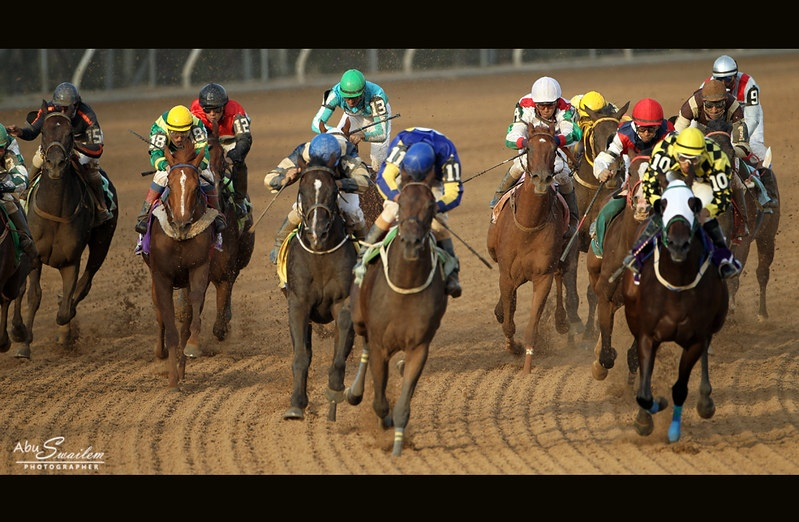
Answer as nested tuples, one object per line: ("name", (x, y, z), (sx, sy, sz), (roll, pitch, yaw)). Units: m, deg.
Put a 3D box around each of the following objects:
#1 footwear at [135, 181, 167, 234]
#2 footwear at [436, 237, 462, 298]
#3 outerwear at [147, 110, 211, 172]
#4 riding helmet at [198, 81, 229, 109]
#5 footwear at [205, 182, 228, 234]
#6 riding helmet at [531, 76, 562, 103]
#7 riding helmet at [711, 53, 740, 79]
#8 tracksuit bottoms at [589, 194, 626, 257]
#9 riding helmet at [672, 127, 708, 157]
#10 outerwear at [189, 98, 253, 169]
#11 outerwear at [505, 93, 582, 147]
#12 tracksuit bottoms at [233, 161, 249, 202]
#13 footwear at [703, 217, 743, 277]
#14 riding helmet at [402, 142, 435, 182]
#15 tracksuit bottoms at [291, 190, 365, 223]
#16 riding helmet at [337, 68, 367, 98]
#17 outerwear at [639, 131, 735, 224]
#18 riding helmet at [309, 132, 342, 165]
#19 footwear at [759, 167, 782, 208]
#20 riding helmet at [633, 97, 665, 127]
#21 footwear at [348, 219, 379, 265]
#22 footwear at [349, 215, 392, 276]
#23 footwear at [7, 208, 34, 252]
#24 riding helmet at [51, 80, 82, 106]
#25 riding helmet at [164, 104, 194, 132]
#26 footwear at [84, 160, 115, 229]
("footwear", (-3.283, -0.677, 13.219), (0.370, 0.717, 0.799), (-9, 14, -27))
("footwear", (0.527, 0.074, 11.599), (0.253, 0.707, 0.402), (-1, 1, -12))
("outerwear", (-2.960, -1.612, 13.099), (0.741, 0.940, 0.347), (-1, -20, 3))
("riding helmet", (-2.649, -2.323, 14.361), (0.378, 0.340, 0.402), (-1, 40, -3))
("footwear", (-2.347, -0.713, 13.283), (0.186, 0.742, 0.420), (2, -8, -42))
("riding helmet", (2.026, -2.357, 13.890), (0.389, 0.325, 0.350), (0, 13, 8))
("riding helmet", (4.680, -2.707, 14.368), (0.398, 0.385, 0.450), (-1, 39, 21))
("tracksuit bottoms", (2.740, -0.502, 13.315), (0.573, 0.292, 0.738), (-29, 37, 22))
("riding helmet", (3.306, -1.343, 11.421), (0.354, 0.327, 0.255), (2, 13, 15))
("outerwear", (-2.525, -1.898, 14.405), (0.795, 1.005, 0.648), (3, -11, -1))
("outerwear", (1.987, -1.902, 13.786), (0.977, 0.696, 1.434), (0, 13, 7))
("tracksuit bottoms", (-2.262, -1.148, 14.562), (0.156, 0.532, 0.284), (1, 8, -7))
("footwear", (3.726, -0.124, 11.572), (0.262, 0.821, 0.299), (5, -31, -22))
("riding helmet", (0.224, -1.093, 10.842), (0.310, 0.409, 0.343), (11, -22, -3))
("tracksuit bottoms", (-0.838, -0.633, 11.911), (0.422, 0.376, 0.178), (12, 14, 17))
("riding helmet", (-0.633, -2.467, 13.925), (0.316, 0.239, 0.417), (1, 47, 4))
("outerwear", (3.352, -1.004, 11.670), (0.877, 1.112, 0.913), (5, -20, 15))
("riding helmet", (-0.855, -1.301, 11.689), (0.327, 0.368, 0.308), (5, -21, -2))
("footwear", (5.383, -1.052, 14.549), (0.352, 0.580, 0.160), (-5, -2, 0))
("riding helmet", (3.157, -1.870, 12.733), (0.369, 0.325, 0.299), (1, 13, 13))
("footwear", (-0.482, -0.230, 11.968), (0.177, 0.716, 0.395), (17, 38, -8))
("footwear", (-0.332, -0.153, 11.692), (0.374, 0.160, 0.689), (-40, 15, 53))
("footwear", (-4.979, -0.388, 13.276), (0.205, 0.647, 0.372), (-25, 25, -22))
("riding helmet", (-4.659, -2.283, 14.035), (0.353, 0.309, 0.414), (3, 51, -5))
("riding helmet", (-2.853, -1.840, 13.060), (0.349, 0.294, 0.438), (-5, 13, -12))
("footwear", (-4.221, -0.969, 14.537), (0.292, 0.916, 0.532), (-4, 0, 12))
